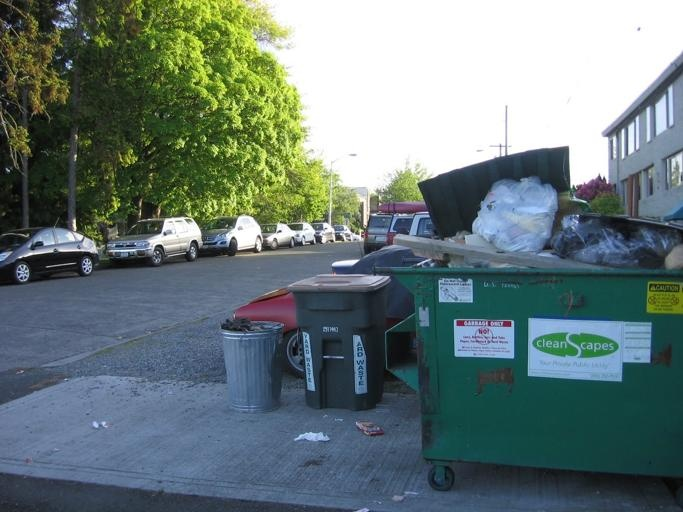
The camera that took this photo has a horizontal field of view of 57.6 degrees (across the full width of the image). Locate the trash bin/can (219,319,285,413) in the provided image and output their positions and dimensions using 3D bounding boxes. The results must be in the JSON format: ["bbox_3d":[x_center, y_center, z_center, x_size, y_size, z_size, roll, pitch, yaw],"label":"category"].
[{"bbox_3d":[-0.975,1.142,6.847,0.649,1.000,0.667,-1,10,6],"label":"trash bin/can"}]

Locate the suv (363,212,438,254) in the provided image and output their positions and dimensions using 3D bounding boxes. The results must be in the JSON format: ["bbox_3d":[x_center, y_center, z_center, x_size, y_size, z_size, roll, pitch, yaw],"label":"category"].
[{"bbox_3d":[1.950,-0.626,20.512,1.396,1.442,2.447,-1,6,7],"label":"suv"}]

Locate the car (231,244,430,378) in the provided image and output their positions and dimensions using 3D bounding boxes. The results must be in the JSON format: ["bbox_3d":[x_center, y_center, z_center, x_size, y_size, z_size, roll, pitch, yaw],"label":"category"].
[{"bbox_3d":[-0.127,0.546,8.041,2.423,1.163,1.360,-11,-4,1],"label":"car"}]

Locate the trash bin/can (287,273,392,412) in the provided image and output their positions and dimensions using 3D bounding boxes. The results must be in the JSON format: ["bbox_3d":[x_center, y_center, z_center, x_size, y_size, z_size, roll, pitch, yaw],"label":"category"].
[{"bbox_3d":[0.121,0.953,6.966,1.285,1.881,1.189,-2,-2,14],"label":"trash bin/can"}]

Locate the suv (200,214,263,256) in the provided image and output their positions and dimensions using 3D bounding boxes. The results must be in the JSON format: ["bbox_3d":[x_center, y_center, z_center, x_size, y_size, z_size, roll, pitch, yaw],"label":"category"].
[{"bbox_3d":[-5.292,-1.031,29.161,1.368,1.253,2.668,-2,-3,20],"label":"suv"}]

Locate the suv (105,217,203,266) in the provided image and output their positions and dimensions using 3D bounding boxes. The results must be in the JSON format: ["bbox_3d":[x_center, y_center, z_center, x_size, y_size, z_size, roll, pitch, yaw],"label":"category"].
[{"bbox_3d":[-7.102,-0.609,24.109,1.765,1.607,3.348,-3,-3,25],"label":"suv"}]
